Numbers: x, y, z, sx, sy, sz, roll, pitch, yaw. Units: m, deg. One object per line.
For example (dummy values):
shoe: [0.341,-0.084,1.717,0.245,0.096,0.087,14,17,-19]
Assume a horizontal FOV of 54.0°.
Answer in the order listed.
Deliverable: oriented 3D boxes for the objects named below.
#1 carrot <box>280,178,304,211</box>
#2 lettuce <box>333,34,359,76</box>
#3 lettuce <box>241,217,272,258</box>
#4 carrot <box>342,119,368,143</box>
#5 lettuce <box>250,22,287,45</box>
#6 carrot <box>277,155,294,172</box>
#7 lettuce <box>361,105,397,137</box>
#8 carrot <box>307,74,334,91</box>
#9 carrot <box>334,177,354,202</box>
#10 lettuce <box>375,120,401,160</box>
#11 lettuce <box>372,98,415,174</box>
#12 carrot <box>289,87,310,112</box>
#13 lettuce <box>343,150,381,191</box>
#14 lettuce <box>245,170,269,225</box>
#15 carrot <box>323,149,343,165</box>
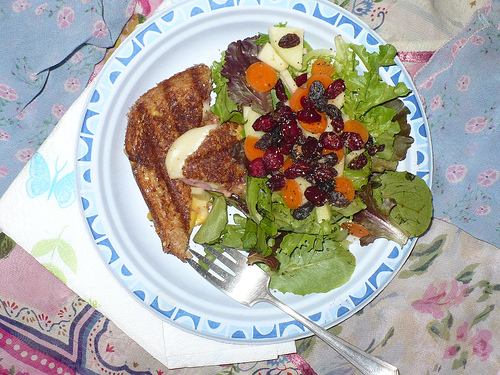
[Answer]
carrot: [0.395,0.064,4.625,0.189,0.126,0.298,-43,85,-8]
lettuce: [0.882,-1.230,4.530,0.212,0.102,0.351,-20,96,-2]
lettuce: [0.074,0.488,4.695,0.353,0.189,0.297,24,81,2]
carrot: [1.007,-0.565,4.613,0.256,0.113,0.192,21,81,1]
lettuce: [0.192,-1.433,4.512,0.059,0.342,0.143,-31,95,-19]
carrot: [0.345,-0.212,4.617,0.095,0.042,0.178,31,84,16]
lettuce: [1.219,-0.689,4.732,0.344,0.266,0.301,0,33,2]
carrot: [0.666,-0.994,4.589,0.244,0.123,0.154,7,81,-1]
carrot: [0.892,0.016,4.615,0.193,0.106,0.207,4,81,-2]
lettuce: [1.311,-0.450,4.659,0.219,0.090,0.339,6,88,29]
lettuce: [1.382,-0.485,4.637,0.523,0.126,0.600,-6,79,41]
carrot: [0.462,-0.834,4.615,0.155,0.136,0.248,15,80,0]
lettuce: [1.056,-0.164,4.619,0.316,0.094,0.355,33,91,-13]
lettuce: [0.075,0.109,4.634,0.191,0.382,0.251,-19,35,-20]
carrot: [0.785,-0.291,4.571,0.187,0.100,0.140,-3,81,-3]
